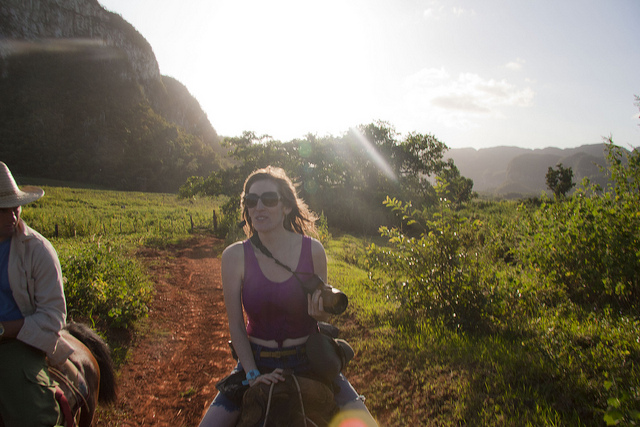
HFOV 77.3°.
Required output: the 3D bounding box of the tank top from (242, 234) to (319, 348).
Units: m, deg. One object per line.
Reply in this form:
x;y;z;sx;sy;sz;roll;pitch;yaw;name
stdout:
-0.766;1.411;6.965;1.482;2.578;1.288;-4;0;-7;tank top
